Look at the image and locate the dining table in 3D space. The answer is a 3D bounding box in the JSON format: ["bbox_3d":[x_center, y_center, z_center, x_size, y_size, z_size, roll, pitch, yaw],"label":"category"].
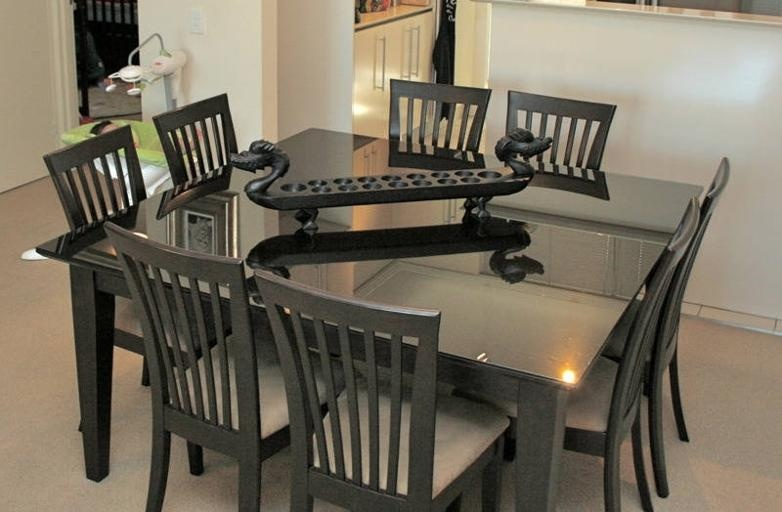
[{"bbox_3d":[-0.133,0.244,2.585,1.779,1.134,1.714,13,32,20],"label":"dining table"}]
